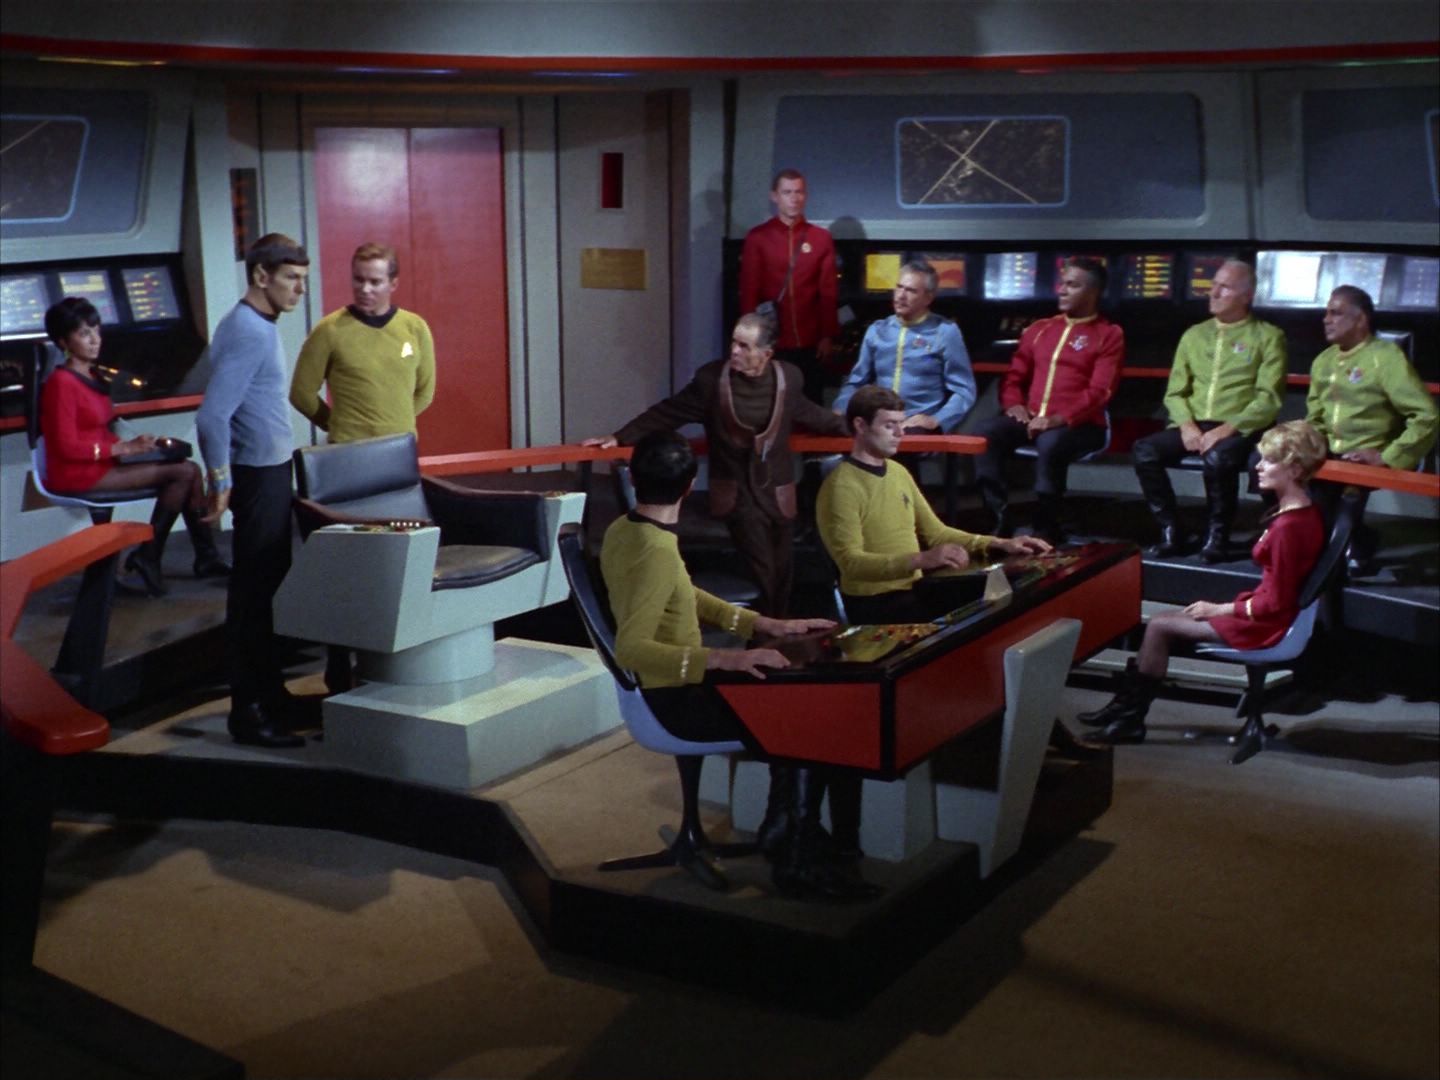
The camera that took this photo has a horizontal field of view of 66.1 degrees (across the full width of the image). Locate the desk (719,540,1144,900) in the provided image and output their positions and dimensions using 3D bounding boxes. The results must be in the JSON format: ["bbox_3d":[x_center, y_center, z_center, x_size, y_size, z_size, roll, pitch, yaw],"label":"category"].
[{"bbox_3d":[0.718,0.357,3.354,1.542,0.332,0.445,-14,20,-43],"label":"desk"}]

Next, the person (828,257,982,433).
[{"bbox_3d":[0.988,-1.025,6.059,0.727,0.977,0.807,-11,17,-39],"label":"person"}]

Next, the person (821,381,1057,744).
[{"bbox_3d":[0.643,-0.012,4.101,0.962,1.451,0.719,-7,10,26],"label":"person"}]

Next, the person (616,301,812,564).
[{"bbox_3d":[0.022,-0.511,5.113,0.306,1.241,1.248,13,28,41],"label":"person"}]
